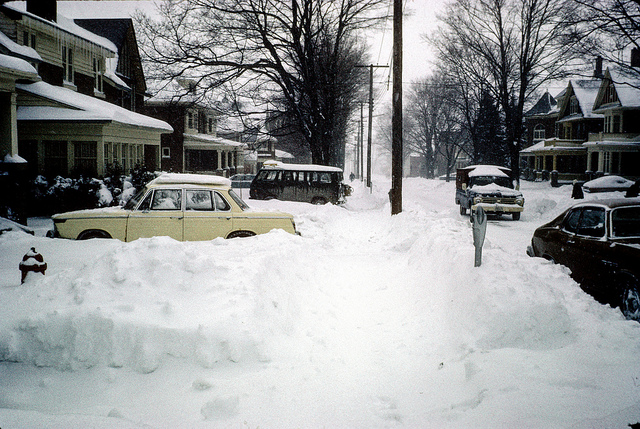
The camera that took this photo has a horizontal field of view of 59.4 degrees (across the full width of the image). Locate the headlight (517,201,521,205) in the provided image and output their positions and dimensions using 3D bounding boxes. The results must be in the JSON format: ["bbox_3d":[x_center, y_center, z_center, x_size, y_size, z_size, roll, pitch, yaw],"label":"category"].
[{"bbox_3d":[8.630,-0.516,24.450,0.153,0.162,0.043,0,-4,18],"label":"headlight"}]

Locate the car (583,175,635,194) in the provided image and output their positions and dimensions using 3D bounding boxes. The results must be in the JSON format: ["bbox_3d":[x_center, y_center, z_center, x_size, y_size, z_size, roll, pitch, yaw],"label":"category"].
[{"bbox_3d":[15.097,-1.578,29.403,2.702,0.900,1.829,-2,8,1],"label":"car"}]

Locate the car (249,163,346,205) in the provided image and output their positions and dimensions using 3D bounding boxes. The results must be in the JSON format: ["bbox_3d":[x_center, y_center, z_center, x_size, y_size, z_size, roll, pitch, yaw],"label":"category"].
[{"bbox_3d":[-0.969,-1.568,27.572,3.327,1.833,2.126,3,3,1],"label":"car"}]

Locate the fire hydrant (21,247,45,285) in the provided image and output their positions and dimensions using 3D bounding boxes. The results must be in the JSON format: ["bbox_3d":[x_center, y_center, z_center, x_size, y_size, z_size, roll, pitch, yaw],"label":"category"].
[{"bbox_3d":[-5.370,0.961,10.433,0.387,0.639,0.574,-3,6,-28],"label":"fire hydrant"}]

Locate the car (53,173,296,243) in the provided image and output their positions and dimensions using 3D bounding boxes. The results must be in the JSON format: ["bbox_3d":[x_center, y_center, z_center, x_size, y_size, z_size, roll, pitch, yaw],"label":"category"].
[{"bbox_3d":[-3.795,0.073,15.279,6.003,2.440,2.198,0,1,-9],"label":"car"}]

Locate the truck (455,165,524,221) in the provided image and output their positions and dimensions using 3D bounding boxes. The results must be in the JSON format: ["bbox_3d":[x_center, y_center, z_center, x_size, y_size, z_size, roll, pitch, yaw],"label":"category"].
[{"bbox_3d":[7.888,-1.122,26.894,2.425,2.600,5.058,0,5,3],"label":"truck"}]
